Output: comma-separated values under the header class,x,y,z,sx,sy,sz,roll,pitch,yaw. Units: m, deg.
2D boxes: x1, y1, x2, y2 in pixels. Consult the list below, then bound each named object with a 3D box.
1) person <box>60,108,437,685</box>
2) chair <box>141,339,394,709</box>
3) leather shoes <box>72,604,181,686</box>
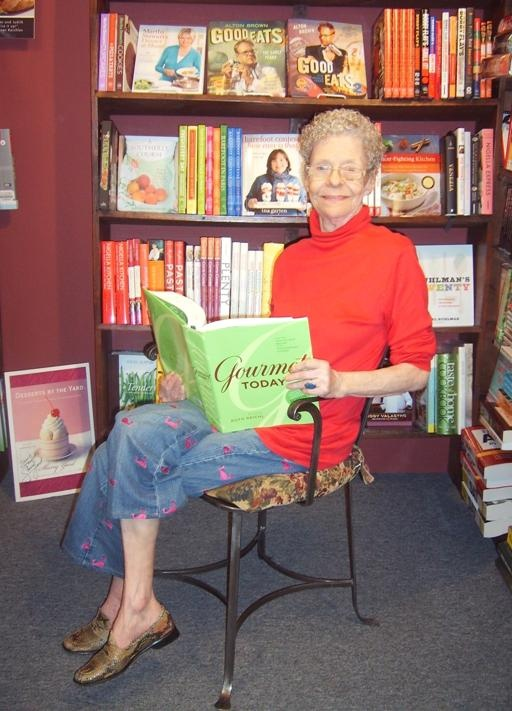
class,x,y,z,sx,sy,sz,roll,pitch,yaw
person,-0.049,0.070,1.334,0.757,1.244,0.523,-2,7,-15
chair,0.084,0.312,1.718,0.728,1.020,0.684,1,2,-27
leather shoes,-0.282,0.643,1.307,0.081,0.094,0.251,-4,12,45
